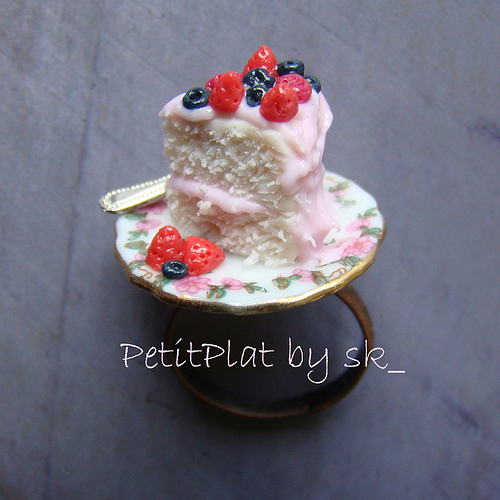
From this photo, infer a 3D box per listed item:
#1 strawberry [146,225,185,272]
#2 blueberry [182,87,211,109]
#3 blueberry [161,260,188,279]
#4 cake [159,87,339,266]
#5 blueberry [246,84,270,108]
[{"bbox_3d":[-0.292,-0.018,2.532,0.197,0.128,0.169,-4,39,-7],"label":"strawberry"},{"bbox_3d":[-0.179,-0.503,2.420,0.096,0.047,0.080,-2,74,-5],"label":"blueberry"},{"bbox_3d":[-0.251,0.062,2.416,0.086,0.058,0.072,1,74,-4],"label":"blueberry"},{"bbox_3d":[-0.016,-0.224,2.543,0.580,0.527,0.565,-1,74,-5],"label":"cake"},{"bbox_3d":[0.016,-0.503,2.367,0.079,0.026,0.067,-3,83,21],"label":"blueberry"}]
